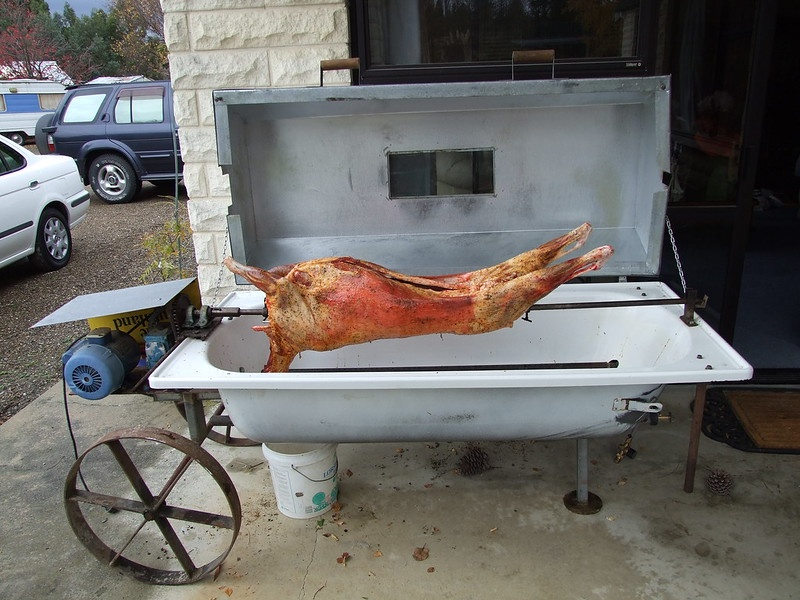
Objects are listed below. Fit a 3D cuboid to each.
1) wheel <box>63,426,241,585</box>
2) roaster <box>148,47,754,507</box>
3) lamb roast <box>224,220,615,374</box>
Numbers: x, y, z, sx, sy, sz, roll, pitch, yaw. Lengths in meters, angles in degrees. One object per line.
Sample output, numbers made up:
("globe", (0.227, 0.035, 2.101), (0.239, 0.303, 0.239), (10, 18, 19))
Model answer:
("wheel", (-1.262, 1.065, 3.136), (0.854, 0.855, 0.156), (9, 16, 2))
("roaster", (0.234, -0.107, 3.218), (2.705, 1.954, 1.440), (-2, 24, 2))
("lamb roast", (0.090, 0.057, 3.331), (1.994, 0.804, 0.425), (-3, 25, 9))
